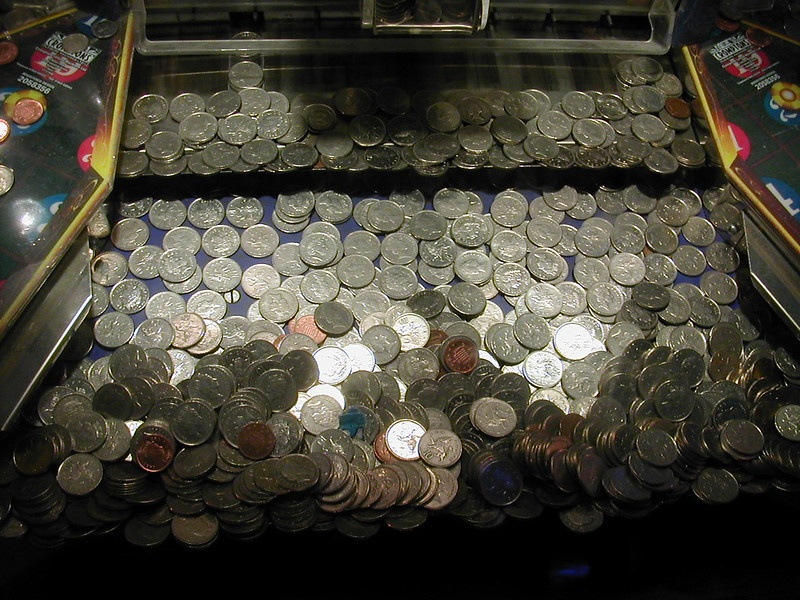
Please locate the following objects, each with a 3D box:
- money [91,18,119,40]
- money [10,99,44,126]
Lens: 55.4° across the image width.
[{"bbox_3d":[-1.928,-1.768,4.977,0.154,0.083,0.112,-6,40,-12],"label":"money"},{"bbox_3d":[-2.338,-1.177,4.791,0.193,0.108,0.147,-4,40,-10],"label":"money"}]
